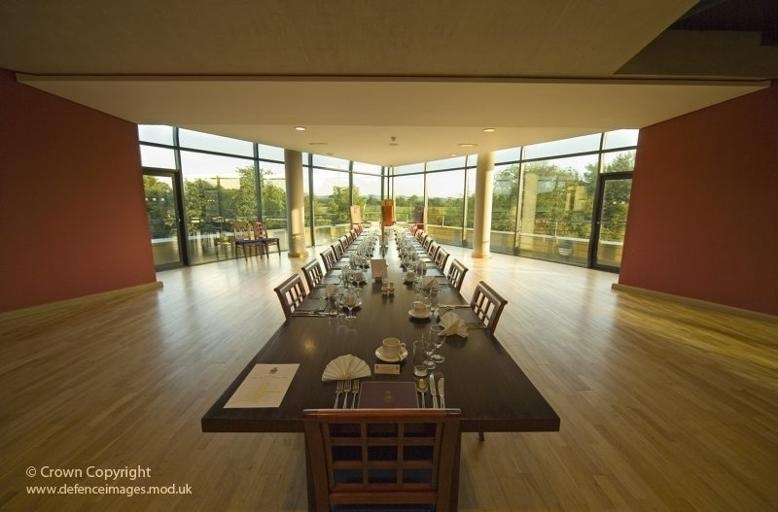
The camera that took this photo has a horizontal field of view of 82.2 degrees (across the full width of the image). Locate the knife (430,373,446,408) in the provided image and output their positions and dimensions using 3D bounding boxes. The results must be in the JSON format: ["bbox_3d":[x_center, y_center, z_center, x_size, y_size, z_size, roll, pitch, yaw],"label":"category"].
[{"bbox_3d":[0.483,1.333,4.376,0.115,0.029,0.347,-2,23,4],"label":"knife"}]

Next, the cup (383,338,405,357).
[{"bbox_3d":[0.050,0.952,4.684,0.195,0.141,0.149,0,8,-8],"label":"cup"}]

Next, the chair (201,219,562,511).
[{"bbox_3d":[-0.039,1.538,4.850,3.218,1.687,1.370,1,7,0],"label":"chair"}]
